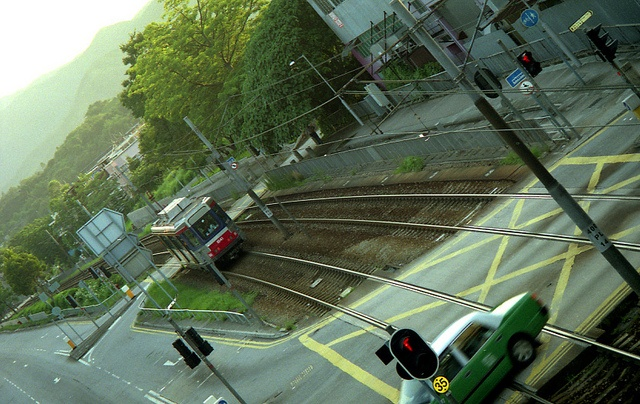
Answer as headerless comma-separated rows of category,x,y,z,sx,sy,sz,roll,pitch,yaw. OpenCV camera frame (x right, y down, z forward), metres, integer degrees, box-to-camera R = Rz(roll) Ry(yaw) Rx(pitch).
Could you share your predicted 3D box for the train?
train,-9.571,2.649,49.581,2.720,3.207,6.577,-37,15,-15
